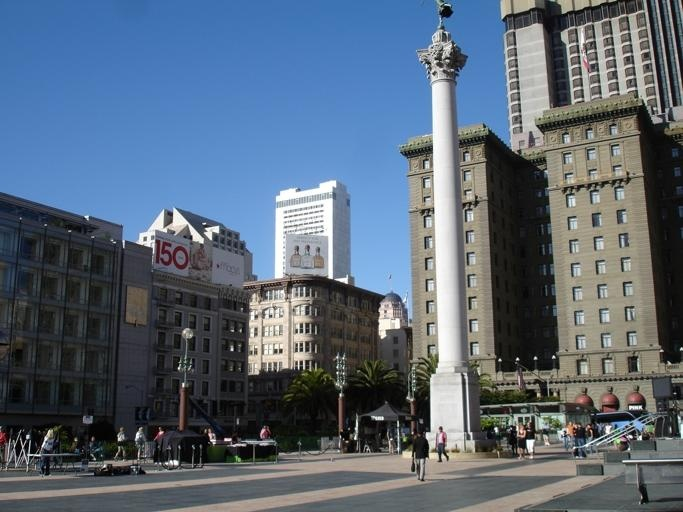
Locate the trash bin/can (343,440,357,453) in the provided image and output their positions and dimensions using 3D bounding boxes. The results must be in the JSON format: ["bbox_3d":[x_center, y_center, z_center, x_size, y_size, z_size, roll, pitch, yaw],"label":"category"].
[{"bbox_3d":[0.954,17.546,68.749,0.835,1.169,2.318,-10,-19,17],"label":"trash bin/can"}]
